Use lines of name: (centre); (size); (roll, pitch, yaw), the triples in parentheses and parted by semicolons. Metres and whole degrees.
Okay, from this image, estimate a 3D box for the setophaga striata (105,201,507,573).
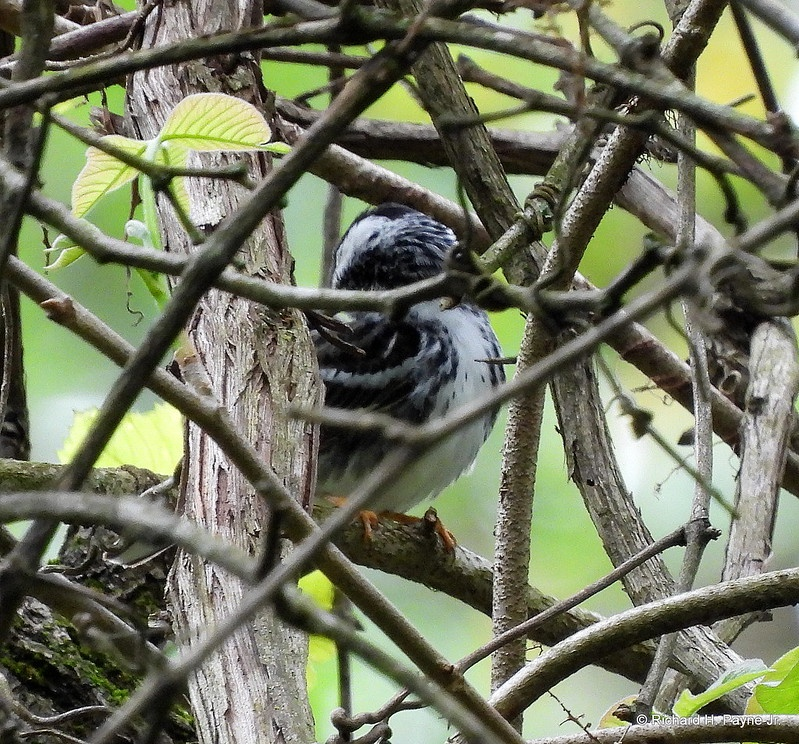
setophaga striata: (-0.062, -0.044, 3.471); (0.879, 0.530, 0.856); (16, -69, 45)
